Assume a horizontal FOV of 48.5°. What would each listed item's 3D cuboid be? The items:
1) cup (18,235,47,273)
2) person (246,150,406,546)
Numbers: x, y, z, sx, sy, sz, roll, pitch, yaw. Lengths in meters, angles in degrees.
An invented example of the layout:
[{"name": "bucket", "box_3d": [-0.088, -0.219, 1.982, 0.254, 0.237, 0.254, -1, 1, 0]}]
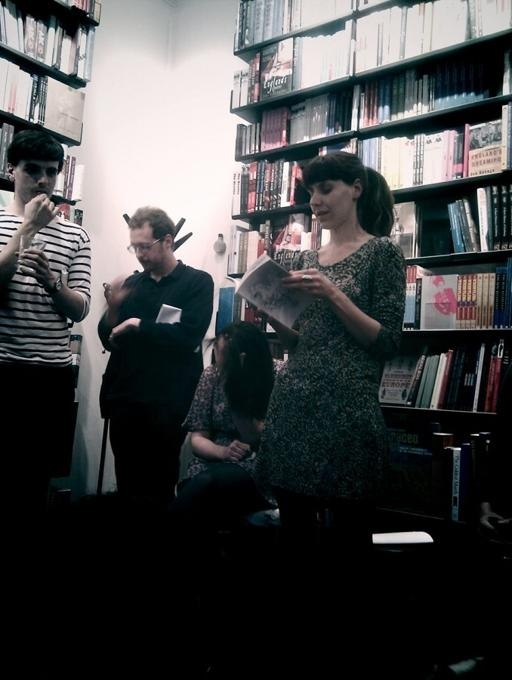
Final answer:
[{"name": "cup", "box_3d": [-0.540, -0.204, 1.399, 0.066, 0.080, 0.067, 5, -8, 1]}, {"name": "person", "box_3d": [0.108, 0.081, 1.127, 0.267, 0.901, 0.278, 6, 0, -28]}]
